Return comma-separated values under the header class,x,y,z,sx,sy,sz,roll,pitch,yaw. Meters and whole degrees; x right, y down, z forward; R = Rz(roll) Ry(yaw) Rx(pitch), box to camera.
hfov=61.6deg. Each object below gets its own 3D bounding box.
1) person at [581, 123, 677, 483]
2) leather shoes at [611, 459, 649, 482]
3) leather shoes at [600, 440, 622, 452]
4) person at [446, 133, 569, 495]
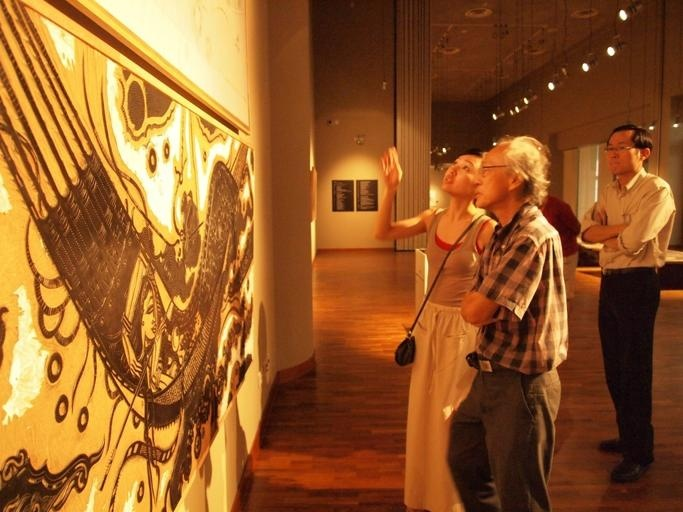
class,x,y,z,sx,sy,sz,roll,pitch,yaw
person,1.756,0.261,3.558,0.505,2.129,0.552,3,8,27
leather shoes,1.762,1.298,3.497,0.260,0.103,0.103,-5,-11,-37
leather shoes,1.789,1.262,3.829,0.141,0.070,0.059,2,3,2
person,0.679,0.328,2.354,0.457,1.628,0.412,3,7,23
